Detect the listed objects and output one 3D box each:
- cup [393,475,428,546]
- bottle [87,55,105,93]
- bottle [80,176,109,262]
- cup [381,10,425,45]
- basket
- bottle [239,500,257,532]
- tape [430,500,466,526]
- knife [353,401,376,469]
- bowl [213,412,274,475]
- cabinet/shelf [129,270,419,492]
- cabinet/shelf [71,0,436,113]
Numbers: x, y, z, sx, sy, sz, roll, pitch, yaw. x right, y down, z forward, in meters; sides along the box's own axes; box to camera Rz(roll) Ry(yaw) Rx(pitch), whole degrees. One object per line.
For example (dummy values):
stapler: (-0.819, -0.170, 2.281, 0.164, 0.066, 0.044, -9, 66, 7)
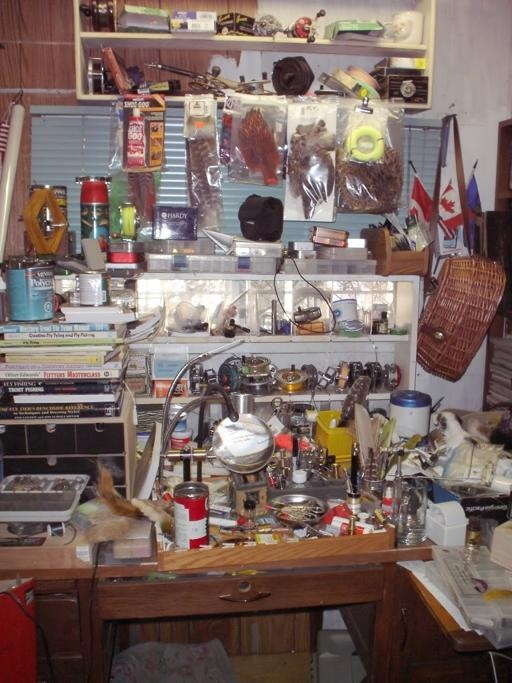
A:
cup: (0.430, 0.489, 1.730, 0.113, 0.157, 0.102, 1, -1, 10)
bottle: (-0.700, -1.148, 2.639, 0.078, 0.152, 0.095, -6, 17, -13)
bottle: (-0.672, -0.519, 2.514, 0.119, 0.303, 0.125, -2, 16, 1)
cup: (0.657, -1.433, 2.801, 0.187, 0.136, 0.150, 10, 22, 28)
basket: (0.846, -0.079, 2.613, 0.210, 0.553, 0.373, 14, 11, -16)
bottle: (-0.025, 0.488, 1.674, 0.053, 0.089, 0.052, 2, 4, 0)
tape: (0.535, 0.458, 1.670, 0.056, 0.057, 0.078, -3, 9, -13)
knife: (0.356, 0.301, 1.955, 0.060, 0.199, 0.035, 2, -10, 0)
bowl: (-0.037, 0.268, 1.609, 0.160, 0.144, 0.088, -3, 16, -5)
cabinet/shelf: (0.108, -0.042, 2.798, 1.288, 0.635, 0.401, -4, 16, -7)
cabinet/shelf: (0.018, -1.312, 2.773, 1.637, 0.521, 0.356, -3, 16, -5)
